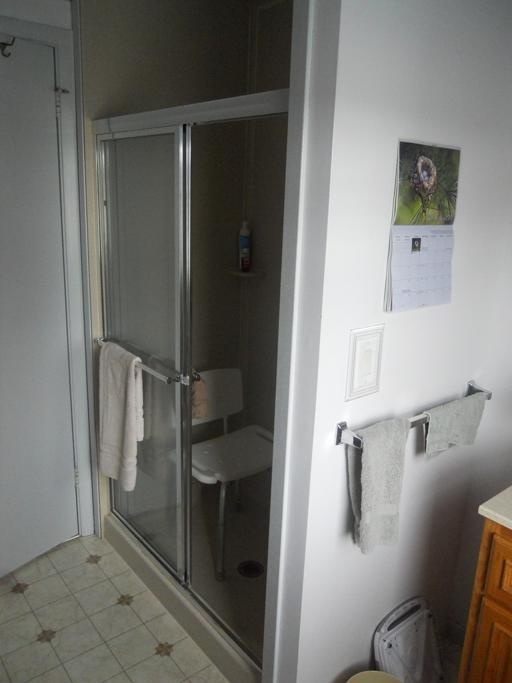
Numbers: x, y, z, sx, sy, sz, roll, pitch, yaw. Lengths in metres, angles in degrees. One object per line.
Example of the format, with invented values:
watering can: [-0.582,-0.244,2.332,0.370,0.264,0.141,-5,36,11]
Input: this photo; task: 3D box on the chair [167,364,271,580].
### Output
chair: [-0.094,0.492,2.106,0.431,0.669,0.463,7,21,16]

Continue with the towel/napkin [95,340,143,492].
towel/napkin: [-0.495,0.253,1.984,0.115,0.474,0.339,-9,16,-33]

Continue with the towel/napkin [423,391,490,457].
towel/napkin: [0.543,0.226,1.503,0.203,0.143,0.038,-12,19,-22]
